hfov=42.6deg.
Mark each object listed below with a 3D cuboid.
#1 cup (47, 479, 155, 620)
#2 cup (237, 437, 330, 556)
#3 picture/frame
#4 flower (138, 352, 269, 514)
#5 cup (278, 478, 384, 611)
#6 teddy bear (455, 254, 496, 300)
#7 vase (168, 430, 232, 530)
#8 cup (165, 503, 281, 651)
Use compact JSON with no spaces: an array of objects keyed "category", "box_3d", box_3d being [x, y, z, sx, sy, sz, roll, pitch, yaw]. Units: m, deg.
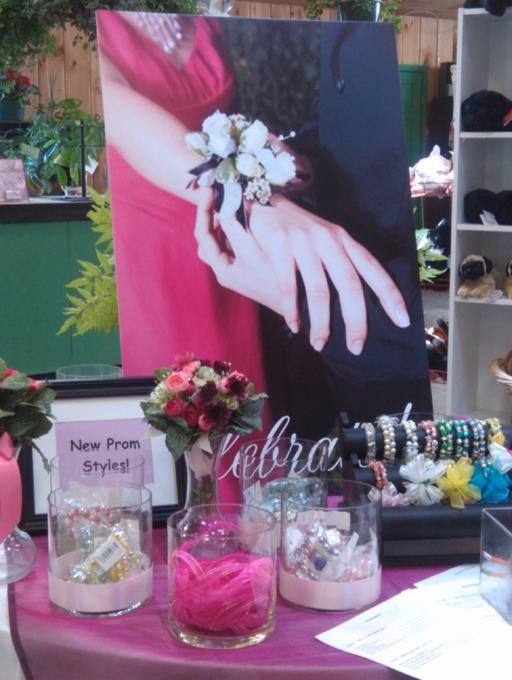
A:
[{"category":"cup","box_3d":[-0.200,0.269,0.890,0.153,0.161,0.151,0,1,0]},{"category":"cup","box_3d":[0.044,0.244,1.040,0.143,0.161,0.143,-1,1,0]},{"category":"picture/frame","box_3d":[-0.243,0.181,1.018,0.284,0.268,0.022,-1,-3,-10]},{"category":"flower","box_3d":[-0.080,0.146,1.006,0.183,0.228,0.135,1,8,2]},{"category":"cup","box_3d":[0.095,0.284,0.959,0.154,0.162,0.155,0,2,0]},{"category":"teddy bear","box_3d":[0.903,-0.256,2.652,0.169,0.171,0.147,1,8,4]},{"category":"vase","box_3d":[-0.064,0.208,0.976,0.096,0.145,0.107,2,10,4]},{"category":"cup","box_3d":[-0.043,0.278,0.822,0.151,0.162,0.148,0,0,0]}]
